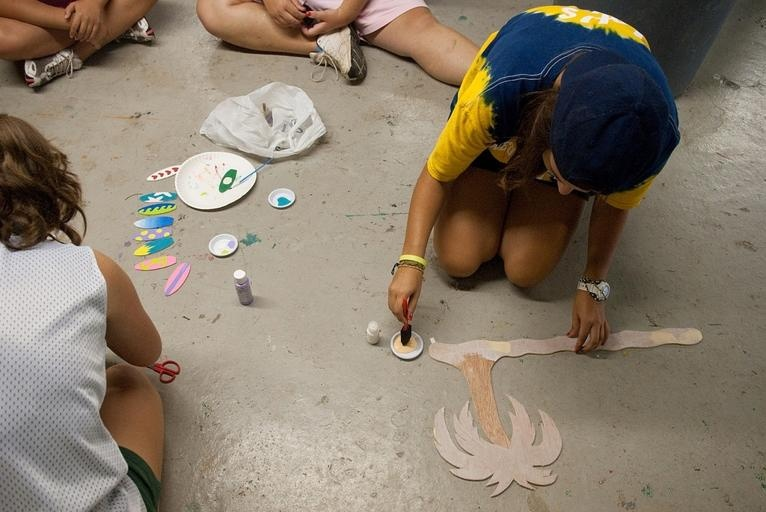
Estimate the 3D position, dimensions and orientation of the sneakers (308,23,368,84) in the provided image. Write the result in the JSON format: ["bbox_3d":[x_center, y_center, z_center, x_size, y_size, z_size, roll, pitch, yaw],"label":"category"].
[{"bbox_3d":[-0.243,-1.077,3.424,0.277,0.164,0.299,-12,55,-11],"label":"sneakers"}]

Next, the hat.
[{"bbox_3d":[0.762,-0.432,2.112,0.429,0.322,0.351,29,57,18],"label":"hat"}]

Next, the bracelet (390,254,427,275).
[{"bbox_3d":[0.115,0.044,2.585,0.090,0.046,0.087,0,15,-6],"label":"bracelet"}]
